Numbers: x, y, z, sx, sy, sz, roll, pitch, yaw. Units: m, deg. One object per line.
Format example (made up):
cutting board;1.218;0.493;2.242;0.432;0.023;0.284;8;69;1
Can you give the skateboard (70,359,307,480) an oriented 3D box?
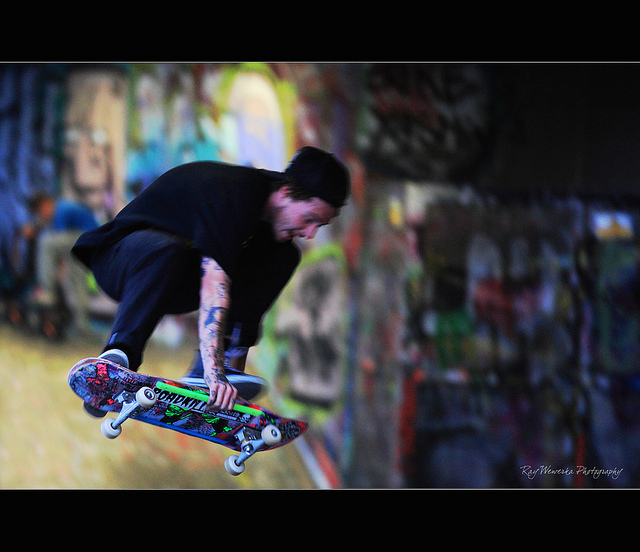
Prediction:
skateboard;-0.839;0.871;4.759;1.147;0.324;0.210;22;35;-1
